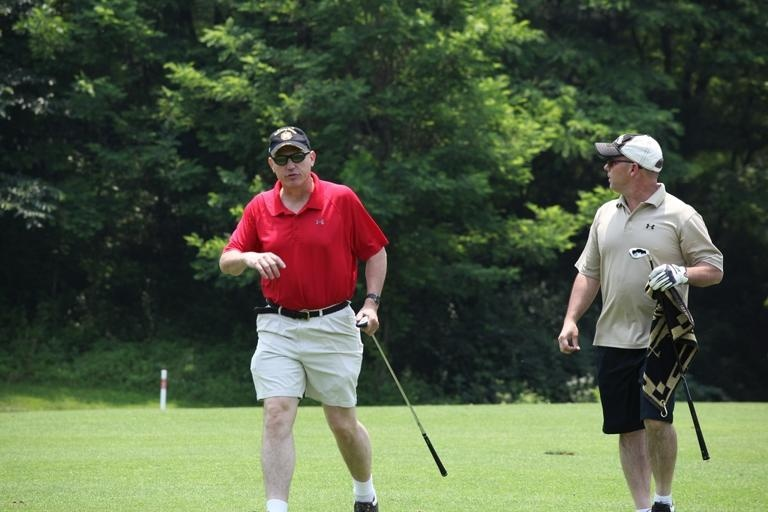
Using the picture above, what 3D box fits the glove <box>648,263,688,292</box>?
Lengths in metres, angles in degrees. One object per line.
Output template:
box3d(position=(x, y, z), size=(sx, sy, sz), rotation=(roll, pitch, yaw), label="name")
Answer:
box3d(position=(4.819, 0.370, 25.672), size=(0.694, 0.447, 0.204), rotation=(-4, -7, 8), label="glove")

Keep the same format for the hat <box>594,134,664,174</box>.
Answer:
box3d(position=(4.273, -1.817, 25.969), size=(1.016, 0.479, 0.622), rotation=(13, 8, 6), label="hat")

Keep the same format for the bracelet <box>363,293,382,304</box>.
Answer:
box3d(position=(-0.180, 0.766, 26.035), size=(0.219, 0.201, 0.196), rotation=(12, -5, -27), label="bracelet")

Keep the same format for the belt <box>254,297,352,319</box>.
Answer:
box3d(position=(-1.383, 0.933, 25.848), size=(1.622, 0.340, 0.205), rotation=(-2, -7, -1), label="belt")
